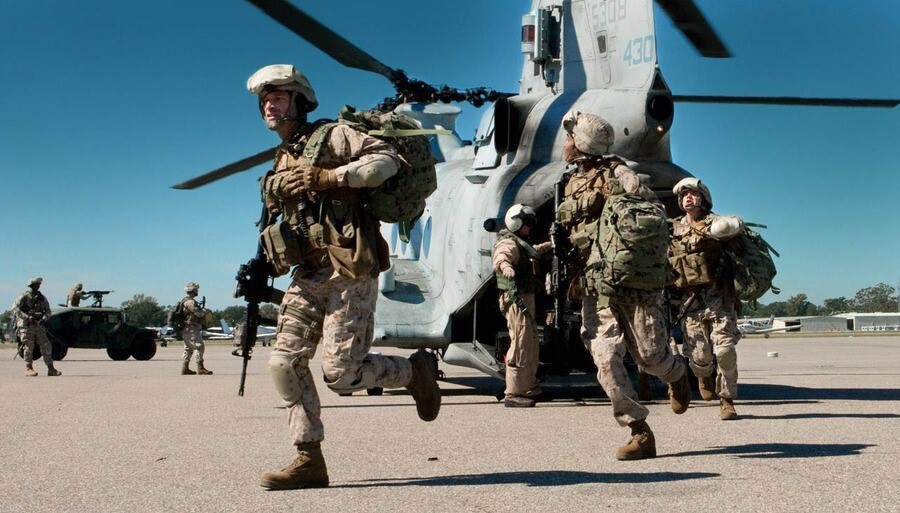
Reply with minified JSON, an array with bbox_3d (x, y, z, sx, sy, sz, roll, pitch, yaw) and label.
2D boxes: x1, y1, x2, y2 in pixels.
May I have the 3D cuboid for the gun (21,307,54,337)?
[{"bbox_3d":[-9.340,1.392,17.957,0.512,0.853,0.778,1,-2,39],"label":"gun"}]

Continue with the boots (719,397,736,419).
[{"bbox_3d":[3.771,2.044,10.781,0.227,0.264,0.354,-1,-5,18],"label":"boots"}]

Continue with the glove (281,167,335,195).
[{"bbox_3d":[-1.421,-0.766,8.061,0.625,0.270,0.119,-2,-5,25],"label":"glove"}]

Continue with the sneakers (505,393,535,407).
[{"bbox_3d":[1.053,2.155,12.000,0.455,0.195,0.172,-1,-4,0],"label":"sneakers"}]

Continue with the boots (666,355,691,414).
[{"bbox_3d":[2.695,1.525,9.340,0.285,0.772,0.360,5,14,32],"label":"boots"}]

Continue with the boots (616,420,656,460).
[{"bbox_3d":[2.020,1.991,8.749,0.505,0.433,0.238,-2,-15,-28],"label":"boots"}]

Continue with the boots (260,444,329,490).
[{"bbox_3d":[-1.460,2.109,7.924,0.855,0.517,0.296,3,-9,-5],"label":"boots"}]

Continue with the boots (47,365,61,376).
[{"bbox_3d":[-8.820,2.522,17.810,0.274,0.193,1.053,2,-5,-26],"label":"boots"}]

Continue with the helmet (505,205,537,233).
[{"bbox_3d":[1.037,-0.606,12.076,0.474,0.400,0.348,-26,9,6],"label":"helmet"}]

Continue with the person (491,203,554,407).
[{"bbox_3d":[1.087,0.713,11.952,0.776,3.044,1.043,-1,-5,11],"label":"person"}]
